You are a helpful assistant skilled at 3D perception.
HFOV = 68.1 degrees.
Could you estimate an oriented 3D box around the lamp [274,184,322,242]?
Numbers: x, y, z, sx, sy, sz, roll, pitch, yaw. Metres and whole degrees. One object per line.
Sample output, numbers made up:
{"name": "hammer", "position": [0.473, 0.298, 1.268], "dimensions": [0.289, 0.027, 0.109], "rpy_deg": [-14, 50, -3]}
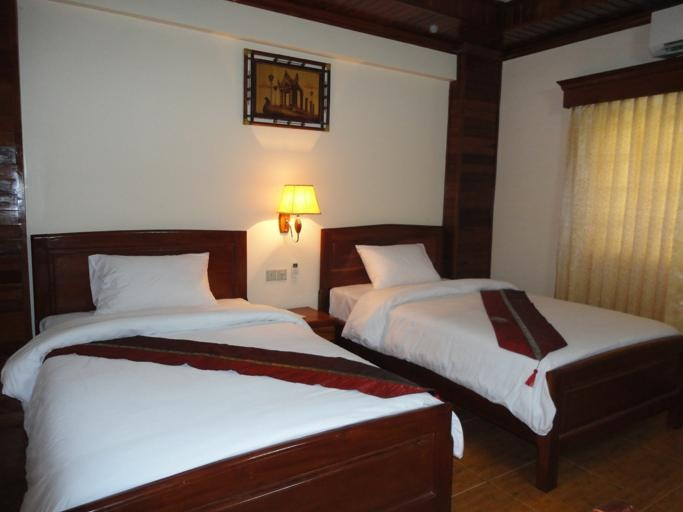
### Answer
{"name": "lamp", "position": [-0.401, -0.377, 4.502], "dimensions": [0.341, 0.511, 0.334], "rpy_deg": [-7, 11, -26]}

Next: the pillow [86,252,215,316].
{"name": "pillow", "position": [-1.409, 0.161, 3.763], "dimensions": [0.872, 0.323, 0.410], "rpy_deg": [0, 38, -26]}
